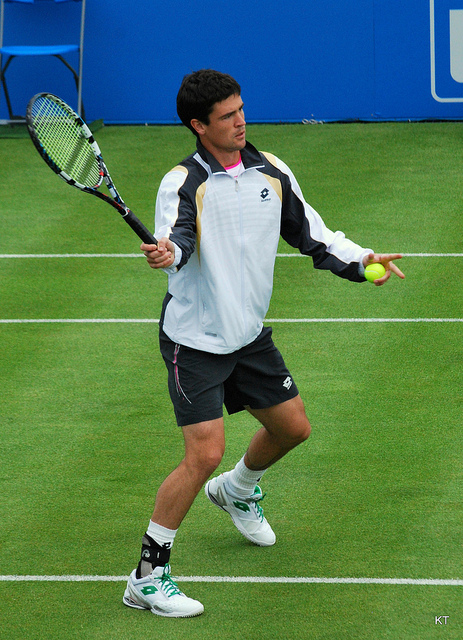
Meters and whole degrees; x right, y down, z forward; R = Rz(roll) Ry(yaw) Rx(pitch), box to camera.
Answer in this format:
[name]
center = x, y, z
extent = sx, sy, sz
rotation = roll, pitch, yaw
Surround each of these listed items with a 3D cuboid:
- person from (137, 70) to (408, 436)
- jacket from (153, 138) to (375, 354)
[person]
center = 0.022, -0.219, 3.165
extent = 1.074, 1.488, 0.517
rotation = -9, 10, -33
[jacket]
center = 0.045, -0.251, 3.186
extent = 1.009, 0.820, 0.598
rotation = -6, 24, -27
